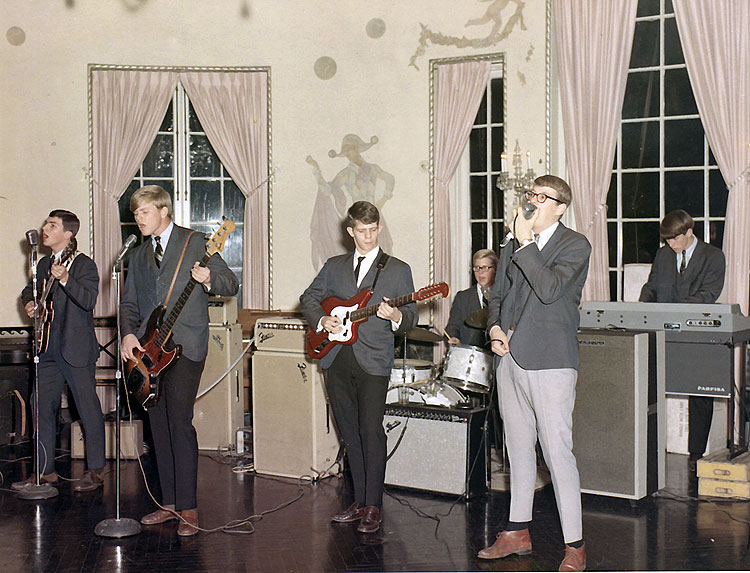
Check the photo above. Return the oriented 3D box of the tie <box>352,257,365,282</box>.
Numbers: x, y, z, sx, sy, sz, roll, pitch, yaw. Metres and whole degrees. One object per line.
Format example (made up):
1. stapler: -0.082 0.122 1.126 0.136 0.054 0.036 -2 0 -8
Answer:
1. tie: -0.127 -0.115 6.354 0.060 0.173 0.022 5 -7 22

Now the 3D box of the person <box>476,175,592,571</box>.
1. person: 1.012 0.567 5.636 0.674 2.476 0.503 3 10 17

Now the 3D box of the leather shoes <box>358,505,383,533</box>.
1. leather shoes: -0.035 1.620 6.283 0.141 0.158 0.189 3 11 17

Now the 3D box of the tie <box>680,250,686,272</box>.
1. tie: 2.640 -0.210 7.752 0.019 0.152 0.054 1 0 -43

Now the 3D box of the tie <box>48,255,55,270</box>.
1. tie: -2.542 -0.183 7.094 0.052 0.114 0.025 1 -20 28

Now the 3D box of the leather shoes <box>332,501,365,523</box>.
1. leather shoes: -0.174 1.626 6.459 0.260 0.128 0.108 4 -9 -17

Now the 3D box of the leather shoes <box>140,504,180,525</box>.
1. leather shoes: -1.523 1.624 6.421 0.286 0.129 0.117 8 -6 -24

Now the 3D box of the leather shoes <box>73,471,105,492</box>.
1. leather shoes: -2.257 1.546 7.104 0.213 0.094 0.114 13 -15 -42

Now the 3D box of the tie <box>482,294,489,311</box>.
1. tie: 0.950 0.145 7.917 0.031 0.146 0.091 -6 5 -39

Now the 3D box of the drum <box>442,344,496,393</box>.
1. drum: 0.698 0.649 6.828 0.329 0.264 0.347 18 -9 3

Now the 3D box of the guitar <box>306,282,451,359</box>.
1. guitar: 0.004 0.244 6.621 0.551 0.269 0.572 -14 -20 30

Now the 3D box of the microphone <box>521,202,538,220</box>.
1. microphone: 0.925 -0.453 5.445 0.084 0.098 0.038 9 -1 9

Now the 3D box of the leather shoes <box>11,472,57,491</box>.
1. leather shoes: -2.688 1.545 7.115 0.354 0.168 0.150 4 -16 -15

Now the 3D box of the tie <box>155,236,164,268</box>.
1. tie: -1.494 -0.242 6.213 0.082 0.192 0.024 -6 -4 39

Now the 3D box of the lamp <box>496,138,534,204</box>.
1. lamp: 1.320 -1.014 8.372 0.348 0.566 0.383 -2 1 -1
